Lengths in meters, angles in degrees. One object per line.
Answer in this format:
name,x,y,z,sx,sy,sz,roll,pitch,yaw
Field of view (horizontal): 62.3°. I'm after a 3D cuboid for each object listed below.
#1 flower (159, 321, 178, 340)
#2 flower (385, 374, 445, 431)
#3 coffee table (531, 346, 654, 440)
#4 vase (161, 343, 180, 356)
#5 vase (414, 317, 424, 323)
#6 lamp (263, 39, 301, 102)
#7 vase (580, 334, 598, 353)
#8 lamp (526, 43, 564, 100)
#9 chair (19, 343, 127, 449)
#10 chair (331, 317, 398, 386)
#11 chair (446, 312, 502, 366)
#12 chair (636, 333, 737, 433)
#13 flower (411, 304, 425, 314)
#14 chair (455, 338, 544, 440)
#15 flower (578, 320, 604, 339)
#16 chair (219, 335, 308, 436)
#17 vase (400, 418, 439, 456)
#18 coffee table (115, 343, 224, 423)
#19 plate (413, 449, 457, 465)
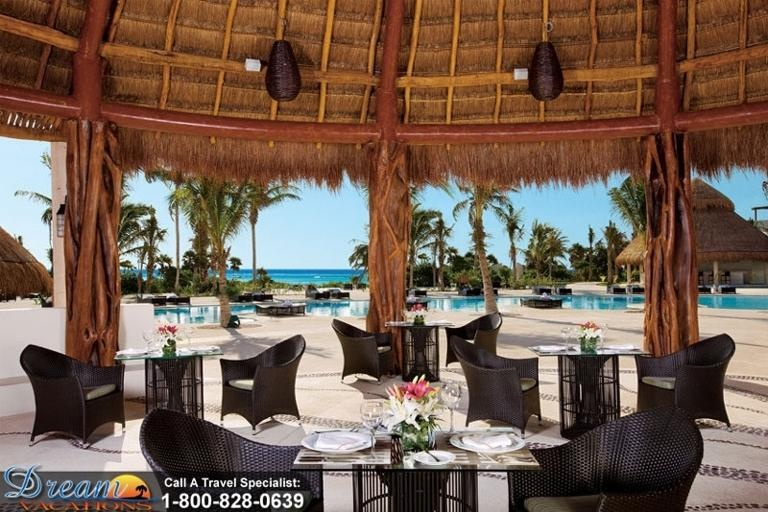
flower,-2.587,0.906,7.606,0.250,0.141,0.243,-2,0,-11
flower,0.243,1.316,5.303,0.489,0.532,0.415,3,1,-44
coffee table,2.461,1.598,7.633,1.054,1.048,1.118,0,-8,-1
vase,-2.521,1.106,7.513,0.145,0.158,0.155,-1,-2,5
vase,0.517,0.964,9.476,0.093,0.077,0.099,1,-5,-1
lamp,-1.473,-2.714,9.269,0.503,0.835,0.544,13,22,26
vase,2.361,1.026,7.378,0.168,0.214,0.180,0,-16,12
lamp,2.356,-2.714,9.283,0.488,0.807,0.506,-27,35,-32
chair,-3.707,1.650,7.616,1.062,1.103,0.982,-1,-1,27
chair,-0.360,1.444,9.791,0.881,0.858,0.813,-2,-2,13
chair,1.482,1.361,10.113,0.748,0.950,0.812,4,-3,-33
chair,3.694,1.518,7.710,0.935,1.139,0.967,3,-5,-9
flower,0.512,0.797,9.666,0.218,0.134,0.362,-2,0,2
chair,1.311,1.544,7.700,0.951,1.097,0.872,-4,-3,29
flower,2.419,0.879,7.444,0.239,0.118,0.255,-1,-6,1
chair,-1.530,1.567,7.951,0.989,1.091,1.061,2,-5,-2
vase,0.284,1.487,5.232,0.251,0.298,0.275,3,-11,-13
coffee table,-2.527,1.525,7.915,0.777,0.755,0.865,-5,-25,7
plate,0.402,1.645,5.171,0.347,0.101,0.155,-2,0,3
